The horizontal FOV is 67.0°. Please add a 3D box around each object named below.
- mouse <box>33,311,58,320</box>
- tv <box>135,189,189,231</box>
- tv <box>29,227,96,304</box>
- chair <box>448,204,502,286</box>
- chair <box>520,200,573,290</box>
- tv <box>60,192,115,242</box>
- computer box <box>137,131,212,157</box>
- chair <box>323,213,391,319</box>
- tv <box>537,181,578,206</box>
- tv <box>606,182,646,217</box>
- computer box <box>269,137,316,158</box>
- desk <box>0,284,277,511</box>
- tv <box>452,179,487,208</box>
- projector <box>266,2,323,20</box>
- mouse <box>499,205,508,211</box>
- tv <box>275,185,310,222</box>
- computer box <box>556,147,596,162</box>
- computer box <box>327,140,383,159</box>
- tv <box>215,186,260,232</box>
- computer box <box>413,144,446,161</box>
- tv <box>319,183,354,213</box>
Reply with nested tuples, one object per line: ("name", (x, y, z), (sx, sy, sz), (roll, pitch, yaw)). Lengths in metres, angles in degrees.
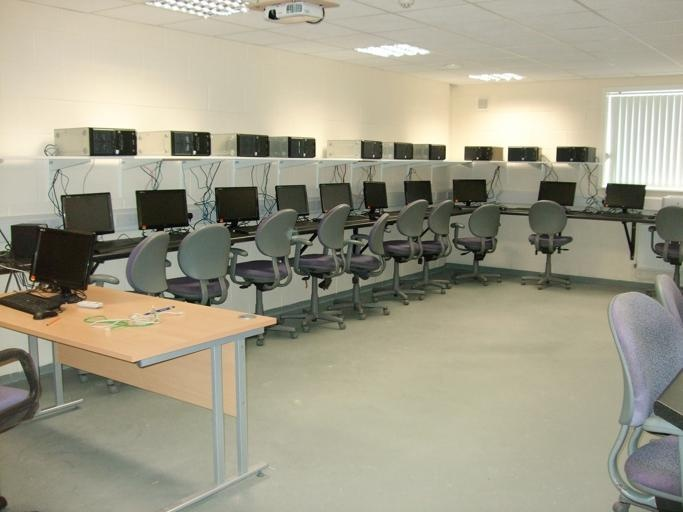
("mouse", (-1.576, 0.338, 2.739), (0.050, 0.021, 0.088), (0, 0, 14))
("tv", (-1.713, -0.416, 4.870), (0.119, 0.316, 0.454), (1, 3, 44))
("tv", (-1.672, 0.094, 3.094), (0.420, 0.420, 0.143), (-14, -3, 26))
("chair", (1.999, -0.154, 7.533), (0.748, 1.242, 1.058), (4, 14, 13))
("chair", (2.971, -0.141, 7.279), (0.659, 1.252, 0.823), (10, 16, 33))
("tv", (-2.055, -0.304, 4.145), (0.119, 0.356, 0.490), (-12, -8, 29))
("computer box", (-1.565, -1.045, 4.848), (0.656, 0.239, 0.331), (-4, 14, -20))
("chair", (-0.001, 0.150, 6.230), (1.060, 1.513, 1.043), (2, 6, 1))
("tv", (3.189, -0.911, 7.662), (0.664, 0.427, 0.386), (9, 3, 38))
("tv", (4.010, -0.756, 7.252), (0.522, 0.414, 0.171), (4, -4, 28))
("computer box", (-0.550, -1.213, 5.818), (0.596, 0.227, 0.164), (-9, 17, -39))
("desk", (-1.137, 0.762, 2.879), (1.449, 0.900, 0.809), (8, 15, 28))
("tv", (2.029, -0.963, 8.133), (0.653, 0.455, 0.167), (0, 2, 12))
("projector", (-0.336, -1.752, 3.681), (0.198, 0.045, 0.197), (3, 6, 31))
("mouse", (2.466, -0.686, 7.849), (0.165, 0.037, 0.149), (2, 14, 15))
("tv", (-0.562, -0.570, 5.728), (0.058, 0.417, 0.563), (-9, -8, 36))
("computer box", (3.400, -1.443, 7.462), (0.519, 0.231, 0.235), (5, 14, 14))
("computer box", (0.186, -1.358, 6.657), (0.767, 0.249, 0.390), (-1, 13, -8))
("tv", (-1.105, -0.474, 5.394), (0.577, 0.510, 0.253), (-3, 1, -40))
("computer box", (1.356, -1.557, 7.847), (0.698, 0.256, 0.172), (-10, 18, -41))
("tv", (-0.082, -0.685, 6.298), (0.116, 0.319, 0.514), (8, 14, 43))
